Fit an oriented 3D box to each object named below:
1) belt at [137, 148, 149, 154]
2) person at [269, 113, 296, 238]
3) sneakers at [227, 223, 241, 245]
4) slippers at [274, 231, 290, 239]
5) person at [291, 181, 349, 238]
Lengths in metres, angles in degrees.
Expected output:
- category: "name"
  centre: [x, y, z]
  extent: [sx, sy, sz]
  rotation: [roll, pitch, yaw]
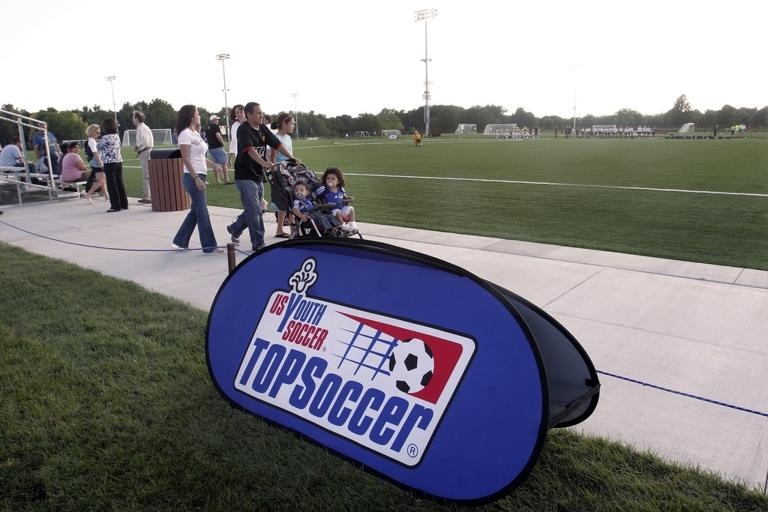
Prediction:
- category: "belt"
  centre: [-6.656, -2.907, 13.795]
  extent: [0.284, 0.183, 0.231]
  rotation: [-9, 17, -23]
- category: "person"
  centre: [-1.827, -1.493, 9.489]
  extent: [0.700, 2.334, 0.702]
  rotation: [-5, 12, -24]
- category: "sneakers"
  centre: [-2.654, -0.378, 8.820]
  extent: [0.182, 0.481, 0.155]
  rotation: [-10, 10, 10]
- category: "slippers"
  centre: [-1.959, -0.432, 9.599]
  extent: [0.292, 0.101, 0.174]
  rotation: [3, 15, 19]
- category: "person"
  centre: [-1.097, -0.701, 7.735]
  extent: [0.671, 0.755, 1.112]
  rotation: [-12, 18, -31]
